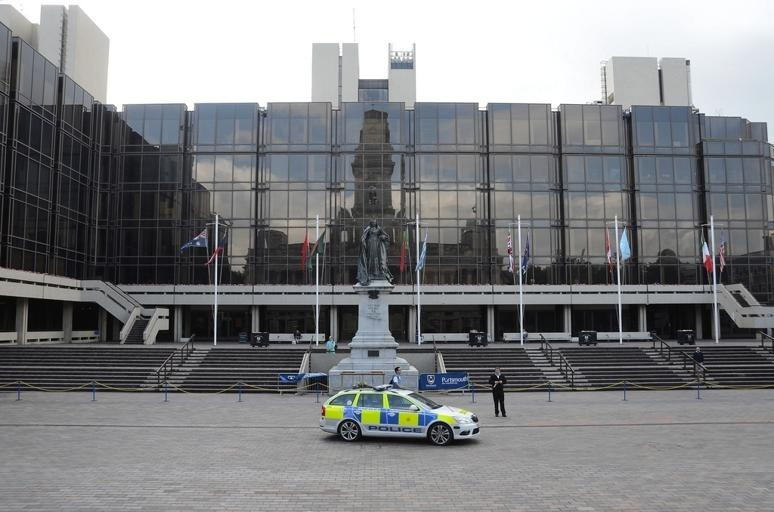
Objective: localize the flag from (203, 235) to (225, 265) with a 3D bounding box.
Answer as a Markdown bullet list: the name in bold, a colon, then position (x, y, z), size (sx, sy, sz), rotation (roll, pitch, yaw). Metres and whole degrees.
- **flag**: position (-16.427, -0.799, 77.146), size (1.731, 3.266, 8.900), rotation (1, -11, -12)

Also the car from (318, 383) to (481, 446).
- **car**: position (1.008, 8.405, 44.082), size (8.057, 2.617, 3.346), rotation (-1, -6, 8)

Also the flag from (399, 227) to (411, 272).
- **flag**: position (1.535, -0.630, 81.187), size (0.809, 4.498, 1.230), rotation (-5, -11, 19)
